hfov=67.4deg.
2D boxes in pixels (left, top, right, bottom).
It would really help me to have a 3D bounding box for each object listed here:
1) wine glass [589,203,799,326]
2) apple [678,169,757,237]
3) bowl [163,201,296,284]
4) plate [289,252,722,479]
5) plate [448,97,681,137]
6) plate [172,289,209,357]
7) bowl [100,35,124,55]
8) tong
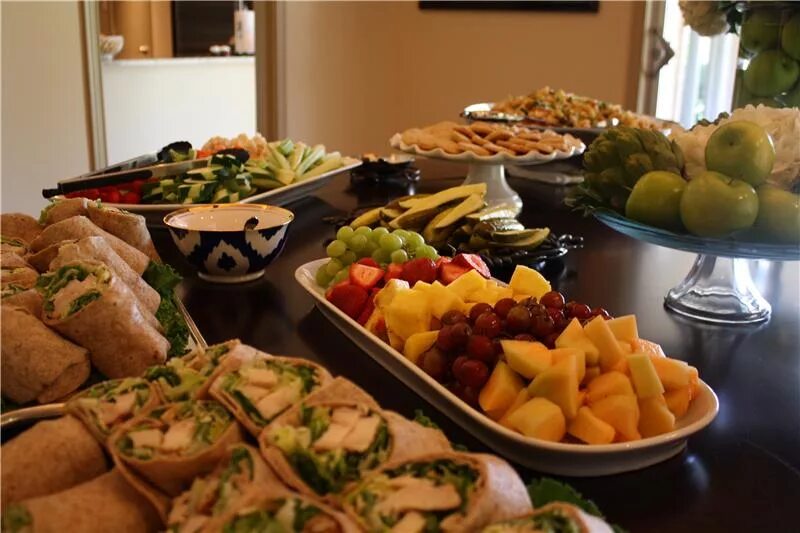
[{"bbox_3d":[0.562,0.023,1.106,0.264,0.098,0.269,-1,13,-19],"label":"wine glass"},{"bbox_3d":[0.558,-0.100,1.056,0.111,0.110,0.107,5,29,-21],"label":"apple"},{"bbox_3d":[-0.353,-0.088,1.192,0.192,0.097,0.199,2,14,0],"label":"bowl"},{"bbox_3d":[0.098,0.093,0.842,0.250,0.048,0.440,-17,25,-42],"label":"plate"},{"bbox_3d":[0.453,-0.533,2.177,0.506,0.058,0.511,14,10,32],"label":"plate"},{"bbox_3d":[-0.352,0.099,1.010,0.015,0.084,0.050,-40,-14,31],"label":"plate"},{"bbox_3d":[-1.770,-1.363,3.691,0.085,0.113,0.382,-7,19,-15],"label":"bowl"},{"bbox_3d":[-0.637,-0.241,1.536,0.434,0.101,0.273,-17,24,-38],"label":"tong"}]
